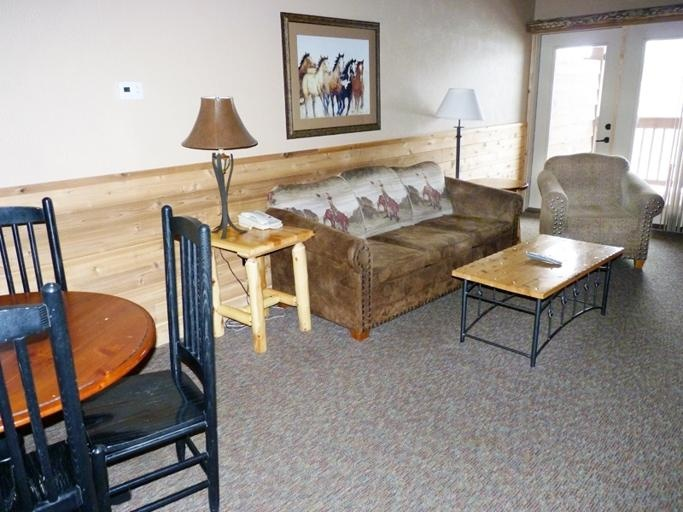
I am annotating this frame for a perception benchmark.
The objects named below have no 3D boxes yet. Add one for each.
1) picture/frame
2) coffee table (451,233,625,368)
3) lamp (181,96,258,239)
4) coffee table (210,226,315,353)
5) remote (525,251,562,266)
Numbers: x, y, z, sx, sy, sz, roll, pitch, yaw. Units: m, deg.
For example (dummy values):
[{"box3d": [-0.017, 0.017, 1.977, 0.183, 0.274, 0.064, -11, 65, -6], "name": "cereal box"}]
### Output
[{"box3d": [-0.121, -1.525, 4.063, 1.067, 1.022, 0.069, -13, 19, -40], "name": "picture/frame"}, {"box3d": [1.415, 0.207, 3.551, 1.416, 0.554, 0.794, -18, 25, -40], "name": "coffee table"}, {"box3d": [-0.793, -0.588, 3.227, 0.444, 0.870, 0.590, -7, 19, -16], "name": "lamp"}, {"box3d": [-0.606, 0.199, 3.470, 0.717, 0.749, 0.676, -13, 19, -36], "name": "coffee table"}, {"box3d": [1.391, 0.013, 3.322, 0.148, 0.036, 0.088, 15, 14, 35], "name": "remote"}]
